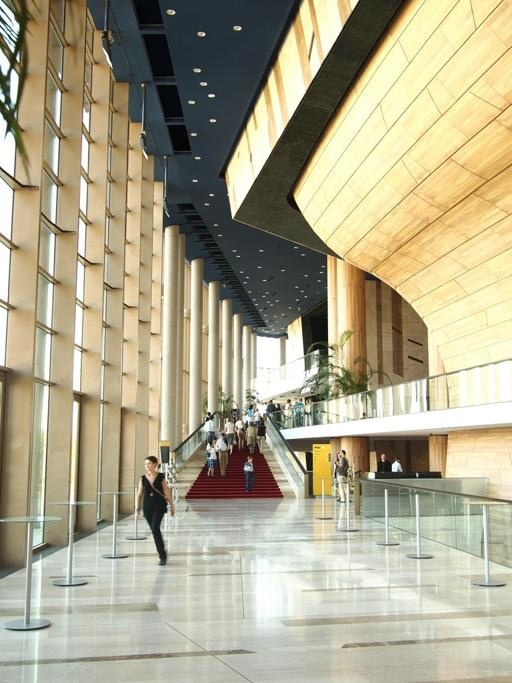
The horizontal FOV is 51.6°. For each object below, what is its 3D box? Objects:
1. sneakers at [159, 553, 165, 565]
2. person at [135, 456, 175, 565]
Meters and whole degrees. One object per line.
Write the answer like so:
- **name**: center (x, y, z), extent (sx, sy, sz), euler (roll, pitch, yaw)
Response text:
- **sneakers**: center (-1.376, 3.231, 7.827), extent (0.088, 0.127, 0.183), euler (0, -11, -10)
- **person**: center (-1.597, 2.632, 8.355), extent (0.597, 1.599, 1.687), euler (0, -11, -11)
